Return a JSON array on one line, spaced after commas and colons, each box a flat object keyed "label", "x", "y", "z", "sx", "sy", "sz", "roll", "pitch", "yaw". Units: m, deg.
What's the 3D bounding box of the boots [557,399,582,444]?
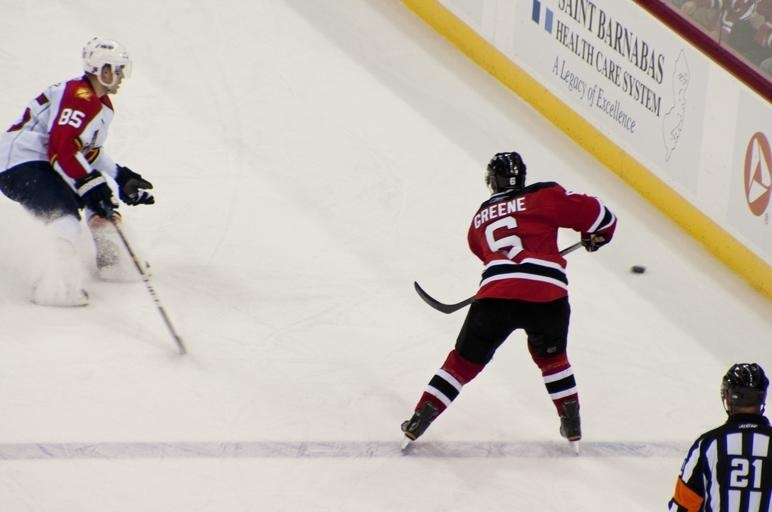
[{"label": "boots", "x": 1.002, "y": 0.903, "z": 8.217, "sx": 0.122, "sy": 0.212, "sz": 0.312, "roll": -8, "pitch": 4, "yaw": 0}]

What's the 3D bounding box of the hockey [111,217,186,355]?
[{"label": "hockey", "x": -1.422, "y": 0.218, "z": 8.839, "sx": 1.056, "sy": 0.106, "sz": 0.048, "roll": 52, "pitch": 13, "yaw": 25}]

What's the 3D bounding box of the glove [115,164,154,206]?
[{"label": "glove", "x": -1.549, "y": -0.438, "z": 9.152, "sx": 0.241, "sy": 0.236, "sz": 0.102, "roll": 19, "pitch": 46, "yaw": 18}]

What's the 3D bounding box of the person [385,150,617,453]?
[{"label": "person", "x": 0.645, "y": 0.341, "z": 8.534, "sx": 1.267, "sy": 1.915, "sz": 1.010, "roll": -8, "pitch": -28, "yaw": 23}]

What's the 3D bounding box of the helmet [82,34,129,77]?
[{"label": "helmet", "x": -1.713, "y": -1.176, "z": 9.012, "sx": 0.306, "sy": 0.268, "sz": 0.226, "roll": 7, "pitch": 17, "yaw": -12}]

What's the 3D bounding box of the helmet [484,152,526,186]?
[{"label": "helmet", "x": 0.663, "y": -0.466, "z": 8.300, "sx": 0.254, "sy": 0.230, "sz": 0.204, "roll": -2, "pitch": 3, "yaw": 16}]

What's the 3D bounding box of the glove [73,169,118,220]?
[{"label": "glove", "x": -1.714, "y": -0.361, "z": 8.888, "sx": 0.301, "sy": 0.206, "sz": 0.139, "roll": 52, "pitch": 0, "yaw": -14}]

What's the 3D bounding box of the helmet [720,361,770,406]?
[{"label": "helmet", "x": 1.771, "y": 0.640, "z": 7.413, "sx": 0.182, "sy": 0.226, "sz": 0.223, "roll": 1, "pitch": -6, "yaw": -1}]
